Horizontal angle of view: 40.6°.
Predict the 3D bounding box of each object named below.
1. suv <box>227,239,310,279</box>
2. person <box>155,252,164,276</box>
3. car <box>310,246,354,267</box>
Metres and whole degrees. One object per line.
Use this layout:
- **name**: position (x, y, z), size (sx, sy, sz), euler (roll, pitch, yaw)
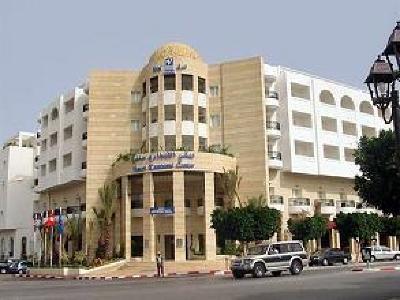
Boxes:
- **suv**: position (5.045, 7.758, 38.530), size (5.385, 2.728, 1.580), euler (7, -18, -27)
- **person**: position (-3.327, 9.621, 44.750), size (0.541, 1.512, 0.429), euler (12, -17, -33)
- **car**: position (13.456, 10.997, 55.709), size (3.292, 1.308, 1.967), euler (8, -19, -23)
